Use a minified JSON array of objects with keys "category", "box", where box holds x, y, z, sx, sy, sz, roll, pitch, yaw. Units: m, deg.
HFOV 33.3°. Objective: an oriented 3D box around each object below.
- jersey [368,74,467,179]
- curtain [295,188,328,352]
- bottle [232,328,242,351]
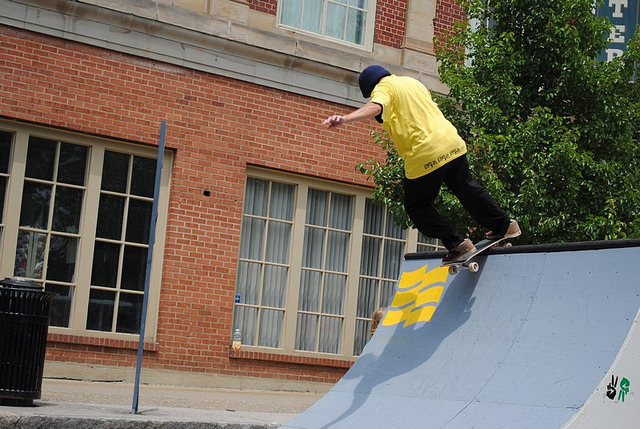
[{"category":"jersey","box":[1.285,-1.201,14.092,1.217,1.364,0.500,-25,-11,-29]},{"category":"curtain","box":[-0.142,1.022,19.581,0.453,2.946,0.073,6,-8,-22]},{"category":"bottle","box":[-1.459,2.228,18.868,0.171,0.387,0.324,4,-7,-4]}]
